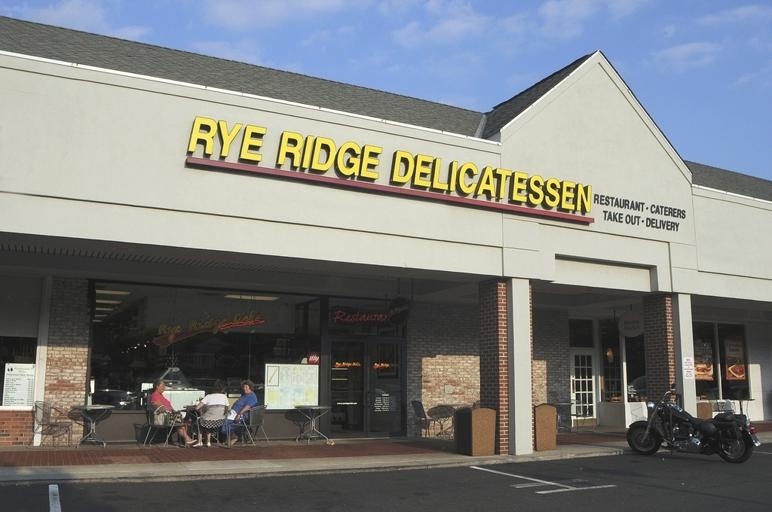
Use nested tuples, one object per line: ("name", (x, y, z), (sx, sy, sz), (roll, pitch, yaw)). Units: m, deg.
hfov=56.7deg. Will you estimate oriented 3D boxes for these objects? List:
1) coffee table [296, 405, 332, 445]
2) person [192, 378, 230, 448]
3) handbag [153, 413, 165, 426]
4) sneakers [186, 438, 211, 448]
("coffee table", (-2.298, 5.215, 22.224), (1.368, 1.104, 1.256), (1, -14, -2))
("person", (-4.994, 4.562, 20.522), (0.917, 1.465, 1.119), (2, -1, -20))
("handbag", (-6.298, 4.577, 20.176), (0.440, 0.398, 0.301), (2, -7, -8))
("sneakers", (-5.300, 5.347, 20.391), (0.697, 0.258, 0.228), (-1, -6, -5))
